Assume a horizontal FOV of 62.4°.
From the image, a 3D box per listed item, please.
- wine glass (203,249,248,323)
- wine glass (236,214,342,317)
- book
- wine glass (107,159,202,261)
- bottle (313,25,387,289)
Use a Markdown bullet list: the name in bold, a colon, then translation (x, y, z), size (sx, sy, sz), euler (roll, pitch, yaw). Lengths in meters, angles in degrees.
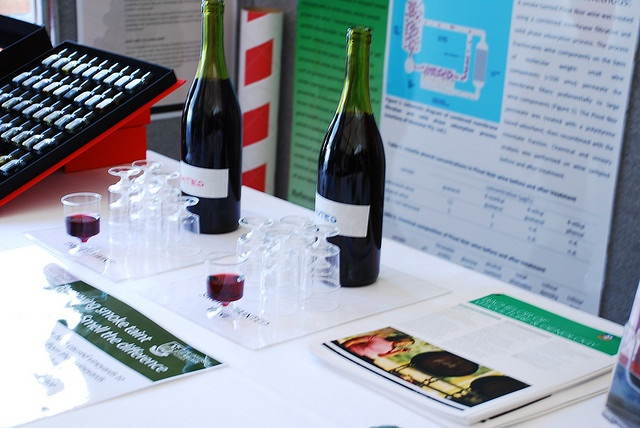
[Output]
- **wine glass**: translation (-0.163, 0.126, 0.913), size (0.067, 0.102, 0.067), euler (13, 34, 8)
- **wine glass**: translation (-0.051, 0.077, 1.005), size (0.210, 0.178, 0.130), euler (-4, 26, -8)
- **book**: translation (0.269, 0.214, 0.872), size (0.489, 0.029, 0.304), euler (-17, 33, -32)
- **wine glass**: translation (-0.346, -0.012, 1.093), size (0.135, 0.164, 0.191), euler (-19, 34, -35)
- **bottle**: translation (0.062, -0.092, 0.972), size (0.120, 0.460, 0.132), euler (-15, 32, -29)
